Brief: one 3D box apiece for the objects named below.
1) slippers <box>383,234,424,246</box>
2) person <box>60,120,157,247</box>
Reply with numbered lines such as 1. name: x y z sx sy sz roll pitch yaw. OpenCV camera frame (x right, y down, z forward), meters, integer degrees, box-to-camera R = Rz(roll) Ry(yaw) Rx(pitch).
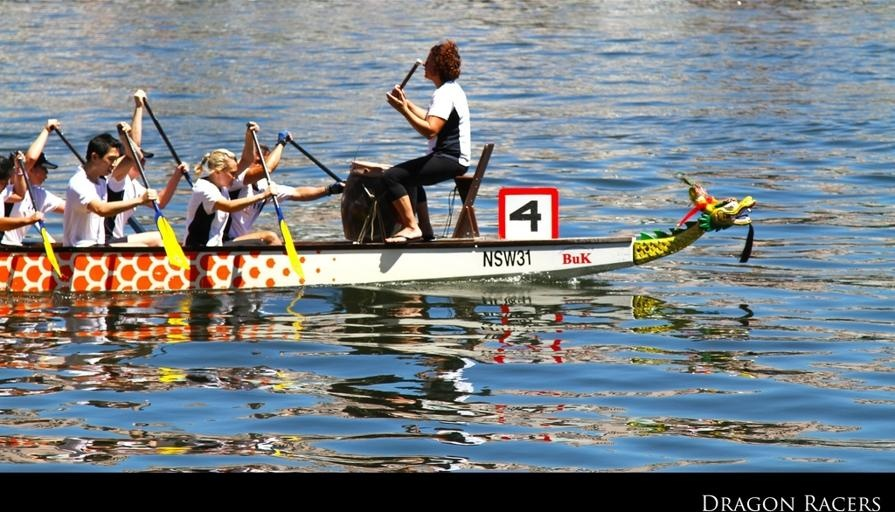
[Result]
1. slippers: -0.717 -0.290 27.146 0.594 0.092 0.229 2 -5 -26
2. person: -5.683 -1.115 26.859 1.544 1.893 1.182 -2 6 -11
